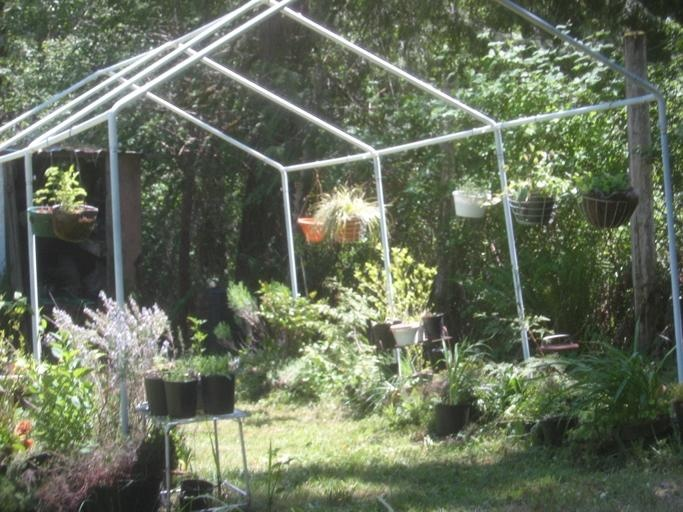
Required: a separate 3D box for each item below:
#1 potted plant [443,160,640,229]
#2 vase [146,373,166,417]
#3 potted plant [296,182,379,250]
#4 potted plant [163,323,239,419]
[{"bbox_3d":[1.927,-0.506,8.273,0.396,0.674,1.796,2,-10,-42],"label":"potted plant"},{"bbox_3d":[-1.454,1.109,6.891,0.212,0.284,0.252,-2,-5,-9],"label":"vase"},{"bbox_3d":[-0.035,-0.510,9.732,0.678,0.592,0.818,-1,-4,-8],"label":"potted plant"},{"bbox_3d":[-1.121,0.987,6.895,0.434,0.392,0.487,-1,-11,-1],"label":"potted plant"}]
